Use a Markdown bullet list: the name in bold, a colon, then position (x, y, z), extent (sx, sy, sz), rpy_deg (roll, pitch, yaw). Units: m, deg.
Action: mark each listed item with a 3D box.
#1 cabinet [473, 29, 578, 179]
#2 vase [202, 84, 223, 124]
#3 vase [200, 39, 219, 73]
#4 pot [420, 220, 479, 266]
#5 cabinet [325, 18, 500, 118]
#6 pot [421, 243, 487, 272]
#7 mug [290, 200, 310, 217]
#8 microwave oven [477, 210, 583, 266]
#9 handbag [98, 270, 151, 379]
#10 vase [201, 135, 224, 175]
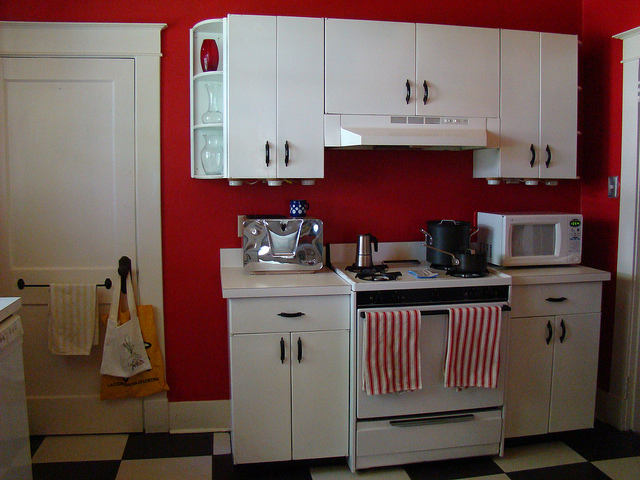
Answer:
- **cabinet**: position (1.552, -0.812, 4.173), extent (0.496, 0.911, 0.405), rpy_deg (1, -15, 18)
- **vase**: position (-0.725, -0.901, 3.918), extent (0.154, 0.260, 0.154), rpy_deg (-6, 11, -30)
- **vase**: position (-0.726, -1.216, 3.817), extent (0.115, 0.218, 0.119), rpy_deg (-6, 15, -12)
- **pot**: position (0.920, 0.031, 4.022), extent (0.370, 0.324, 0.301), rpy_deg (3, -4, -15)
- **cabinet**: position (0.612, -1.103, 4.019), extent (1.179, 0.618, 0.428), rpy_deg (0, -2, -8)
- **pot**: position (0.897, 0.127, 3.858), extent (0.427, 0.196, 0.173), rpy_deg (1, 2, 14)
- **mug**: position (-0.131, -0.196, 3.850), extent (0.112, 0.092, 0.089), rpy_deg (-1, 5, -12)
- **microwave oven**: position (1.472, 0.003, 3.978), extent (0.498, 0.345, 0.386), rpy_deg (-1, 3, -12)
- **handbag**: position (-1.319, 0.585, 3.915), extent (0.380, 0.833, 0.152), rpy_deg (-9, 27, -30)
- **vase**: position (-0.698, -0.565, 3.877), extent (0.207, 0.264, 0.106), rpy_deg (2, 8, 28)
